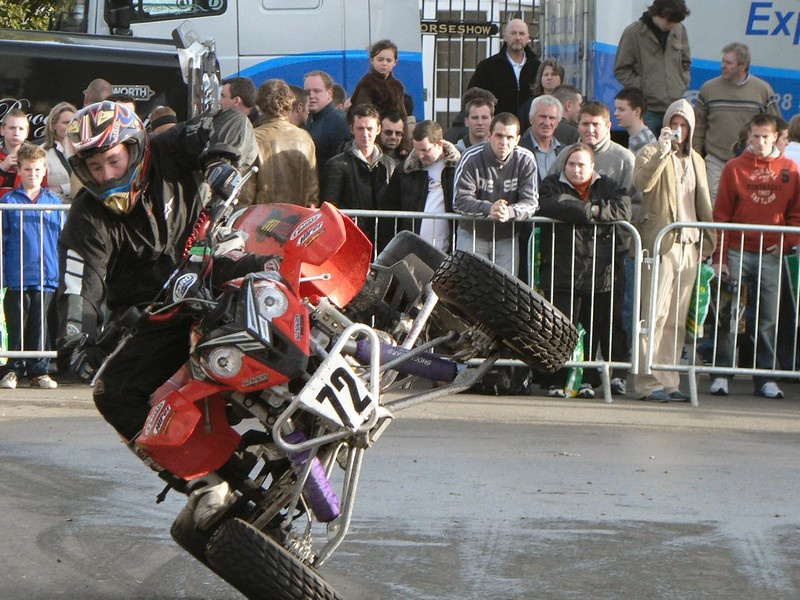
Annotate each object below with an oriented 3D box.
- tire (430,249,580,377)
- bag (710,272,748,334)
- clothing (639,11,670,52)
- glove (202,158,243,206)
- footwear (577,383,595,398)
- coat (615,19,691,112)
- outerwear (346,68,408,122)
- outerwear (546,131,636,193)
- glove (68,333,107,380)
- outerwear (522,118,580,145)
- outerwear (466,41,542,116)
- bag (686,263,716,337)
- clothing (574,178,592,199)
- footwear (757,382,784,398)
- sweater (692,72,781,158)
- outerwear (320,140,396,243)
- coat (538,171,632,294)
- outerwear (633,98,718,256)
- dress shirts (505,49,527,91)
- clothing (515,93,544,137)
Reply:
[{"bbox_3d":[0.520,0.221,7.463,0.819,0.805,0.305,-19,17,36],"label":"tire"},{"bbox_3d":[2.810,0.049,11.414,0.281,0.458,0.269,-11,17,-40],"label":"bag"},{"bbox_3d":[2.443,-2.606,12.887,0.286,0.368,0.166,3,12,14],"label":"clothing"},{"bbox_3d":[-0.914,-0.622,6.984,0.184,0.181,0.305,-2,12,-9],"label":"glove"},{"bbox_3d":[1.544,0.756,11.139,0.107,0.039,0.117,-4,41,7],"label":"footwear"},{"bbox_3d":[2.507,-2.297,13.090,0.847,0.966,0.421,-9,15,-18],"label":"coat"},{"bbox_3d":[-0.192,-1.984,12.967,0.527,0.467,0.471,-1,12,-4],"label":"outerwear"},{"bbox_3d":[1.612,-1.144,11.310,0.516,0.431,0.230,13,-7,5],"label":"outerwear"},{"bbox_3d":[-1.642,0.314,7.035,0.104,0.185,0.238,25,-12,-20],"label":"glove"},{"bbox_3d":[1.400,-1.504,12.106,0.362,0.257,0.318,-4,4,-25],"label":"outerwear"},{"bbox_3d":[1.091,-2.296,13.963,0.727,0.707,0.455,1,12,3],"label":"outerwear"},{"bbox_3d":[2.497,0.014,11.141,0.161,0.614,0.434,5,13,23],"label":"bag"},{"bbox_3d":[1.523,-0.921,11.171,0.135,0.166,0.165,-8,22,2],"label":"clothing"},{"bbox_3d":[3.132,0.767,11.271,0.232,0.115,0.221,0,12,-3],"label":"footwear"},{"bbox_3d":[3.102,-1.686,12.383,1.024,0.924,0.440,4,2,5],"label":"sweater"},{"bbox_3d":[-0.295,-0.968,11.560,0.752,0.963,0.366,-11,39,-16],"label":"outerwear"},{"bbox_3d":[1.522,-0.548,11.104,1.034,1.247,0.589,1,-1,0],"label":"coat"},{"bbox_3d":[2.297,-1.012,11.203,0.738,1.294,0.474,-4,12,-18],"label":"outerwear"},{"bbox_3d":[1.224,-2.441,13.901,0.228,0.301,0.115,4,1,-3],"label":"dress shirts"},{"bbox_3d":[1.232,-1.791,12.837,0.295,0.367,0.362,-3,5,-21],"label":"clothing"}]
